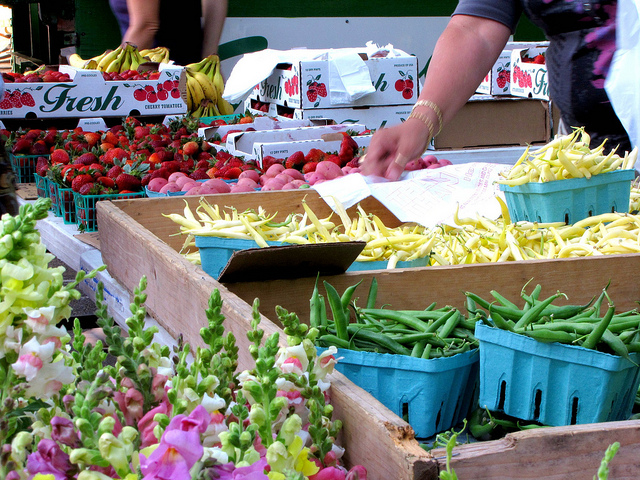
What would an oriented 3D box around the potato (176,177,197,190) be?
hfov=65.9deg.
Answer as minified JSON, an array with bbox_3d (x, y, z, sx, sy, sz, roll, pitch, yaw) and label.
[{"bbox_3d":[-0.650,-0.271,2.410,0.079,0.062,0.060,9,21,4],"label":"potato"}]

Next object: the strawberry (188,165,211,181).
[{"bbox_3d":[-0.643,-0.348,2.652,0.102,0.070,0.089,7,7,-1],"label":"strawberry"}]

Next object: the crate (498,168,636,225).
[{"bbox_3d":[0.864,-0.180,1.888,0.472,0.210,0.329,-6,9,-24],"label":"crate"}]

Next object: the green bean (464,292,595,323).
[{"bbox_3d":[0.480,0.137,1.129,0.195,0.061,0.155,4,6,-20],"label":"green bean"}]

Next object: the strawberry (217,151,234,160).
[{"bbox_3d":[-0.578,-0.508,2.969,0.058,0.036,0.058,5,-4,4],"label":"strawberry"}]

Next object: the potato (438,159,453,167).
[{"bbox_3d":[0.676,-0.419,2.675,0.072,0.041,0.072,1,1,-13],"label":"potato"}]

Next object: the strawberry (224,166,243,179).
[{"bbox_3d":[-0.461,-0.363,2.668,0.093,0.052,0.047,-12,-5,-37],"label":"strawberry"}]

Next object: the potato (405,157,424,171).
[{"bbox_3d":[0.486,-0.376,2.525,0.077,0.059,0.103,-3,2,5],"label":"potato"}]

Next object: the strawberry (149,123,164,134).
[{"bbox_3d":[-1.159,-0.794,3.514,0.076,0.079,0.075,-15,25,-30],"label":"strawberry"}]

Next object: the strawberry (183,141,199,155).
[{"bbox_3d":[-0.805,-0.580,3.098,0.074,0.060,0.097,11,20,14],"label":"strawberry"}]

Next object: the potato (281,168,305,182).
[{"bbox_3d":[-0.134,-0.342,2.548,0.083,0.057,0.097,14,5,-29],"label":"potato"}]

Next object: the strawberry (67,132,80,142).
[{"bbox_3d":[-1.632,-0.676,3.297,0.072,0.055,0.089,0,4,-5],"label":"strawberry"}]

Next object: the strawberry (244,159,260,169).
[{"bbox_3d":[-0.389,-0.439,2.861,0.068,0.032,0.078,12,10,-6],"label":"strawberry"}]

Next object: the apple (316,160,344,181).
[{"bbox_3d":[0.052,-0.359,2.531,0.142,0.087,0.220,1,10,0],"label":"apple"}]

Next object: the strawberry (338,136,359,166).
[{"bbox_3d":[0.163,-0.531,2.885,0.109,0.192,0.046,11,-28,-20],"label":"strawberry"}]

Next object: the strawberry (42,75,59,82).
[{"bbox_3d":[-2.189,-1.317,4.038,0.117,0.073,0.088,6,2,-32],"label":"strawberry"}]

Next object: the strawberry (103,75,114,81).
[{"bbox_3d":[-1.749,-1.348,4.096,0.065,0.038,0.055,8,-6,-12],"label":"strawberry"}]

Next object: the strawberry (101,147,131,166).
[{"bbox_3d":[-1.170,-0.493,2.847,0.110,0.096,0.147,-3,6,35],"label":"strawberry"}]

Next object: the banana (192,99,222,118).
[{"bbox_3d":[-1.123,-1.306,4.944,0.094,0.199,0.351,0,-1,40],"label":"banana"}]

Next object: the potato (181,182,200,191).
[{"bbox_3d":[-0.603,-0.257,2.320,0.051,0.049,0.078,1,9,10],"label":"potato"}]

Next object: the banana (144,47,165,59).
[{"bbox_3d":[-1.623,-1.857,4.907,0.244,0.085,0.054,-25,49,-36],"label":"banana"}]

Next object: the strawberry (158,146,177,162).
[{"bbox_3d":[-0.920,-0.523,2.991,0.071,0.055,0.126,-6,-7,8],"label":"strawberry"}]

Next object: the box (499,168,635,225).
[{"bbox_3d":[0.871,-0.177,1.899,0.470,0.211,0.327,-6,9,-24],"label":"box"}]

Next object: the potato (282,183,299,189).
[{"bbox_3d":[-0.132,-0.249,2.276,0.052,0.038,0.066,0,4,-6],"label":"potato"}]

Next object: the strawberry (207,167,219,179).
[{"bbox_3d":[-0.592,-0.376,2.727,0.065,0.050,0.083,-13,7,13],"label":"strawberry"}]

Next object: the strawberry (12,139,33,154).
[{"bbox_3d":[-1.913,-0.608,3.211,0.092,0.095,0.130,9,13,39],"label":"strawberry"}]

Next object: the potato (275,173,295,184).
[{"bbox_3d":[-0.168,-0.308,2.444,0.050,0.038,0.067,0,-2,8],"label":"potato"}]

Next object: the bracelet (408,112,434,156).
[{"bbox_3d":[0.519,-0.547,2.525,0.131,0.162,0.062,9,-4,5],"label":"bracelet"}]

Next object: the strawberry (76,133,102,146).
[{"bbox_3d":[-1.530,-0.667,3.265,0.119,0.072,0.093,-2,-7,-6],"label":"strawberry"}]

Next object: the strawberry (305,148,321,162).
[{"bbox_3d":[-0.039,-0.513,2.923,0.076,0.095,0.082,0,42,-13],"label":"strawberry"}]

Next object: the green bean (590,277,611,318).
[{"bbox_3d":[0.727,0.148,1.286,0.025,0.090,0.022,15,16,-40],"label":"green bean"}]
